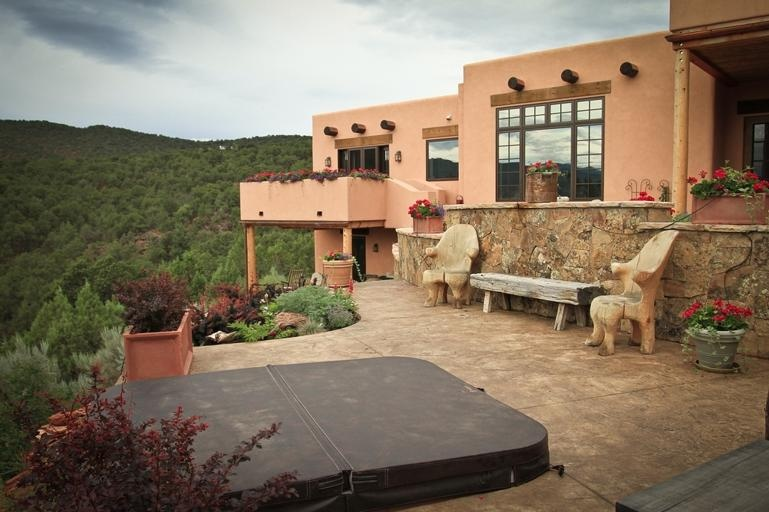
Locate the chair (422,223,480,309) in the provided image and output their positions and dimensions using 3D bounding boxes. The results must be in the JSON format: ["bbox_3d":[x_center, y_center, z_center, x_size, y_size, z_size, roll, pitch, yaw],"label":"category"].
[{"bbox_3d":[1.495,0.178,10.627,1.116,1.768,0.887,4,1,20],"label":"chair"}]

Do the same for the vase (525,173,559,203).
[{"bbox_3d":[3.120,-1.351,9.741,0.628,0.575,0.620,2,3,10],"label":"vase"}]

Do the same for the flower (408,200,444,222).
[{"bbox_3d":[1.081,-1.213,12.825,0.723,0.416,0.698,1,3,-45],"label":"flower"}]

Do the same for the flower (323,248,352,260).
[{"bbox_3d":[-1.475,0.023,15.054,0.808,0.262,0.694,4,0,-8],"label":"flower"}]

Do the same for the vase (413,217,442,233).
[{"bbox_3d":[1.186,-0.804,12.619,0.438,0.319,0.625,0,1,-22],"label":"vase"}]

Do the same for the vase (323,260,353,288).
[{"bbox_3d":[-1.290,0.544,14.544,0.970,0.727,0.924,-1,5,-22],"label":"vase"}]

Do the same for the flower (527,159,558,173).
[{"bbox_3d":[3.168,-1.779,9.681,0.524,0.272,0.230,4,1,11],"label":"flower"}]

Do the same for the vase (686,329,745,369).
[{"bbox_3d":[4.403,1.213,6.535,0.599,0.412,0.581,0,-3,2],"label":"vase"}]

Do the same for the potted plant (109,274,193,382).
[{"bbox_3d":[-3.104,0.977,6.528,0.995,1.137,1.165,4,1,-22],"label":"potted plant"}]
